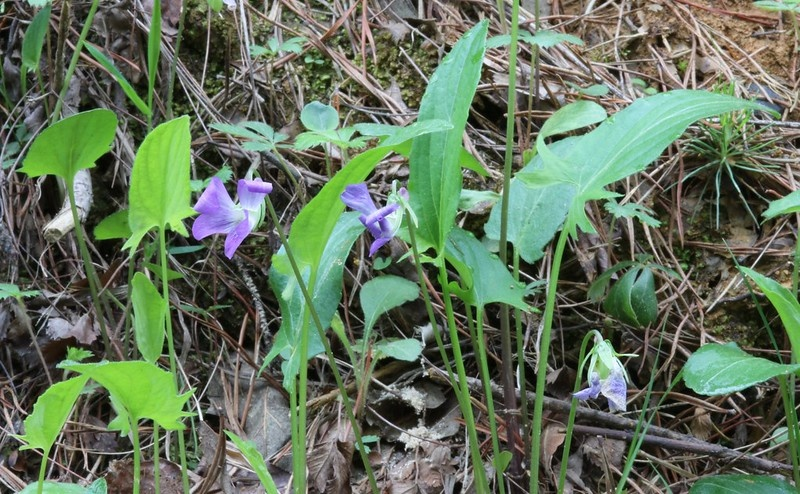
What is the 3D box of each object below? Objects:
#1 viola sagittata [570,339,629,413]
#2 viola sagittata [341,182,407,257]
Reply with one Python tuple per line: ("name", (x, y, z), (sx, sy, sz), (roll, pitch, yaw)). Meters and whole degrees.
("viola sagittata", (0.913, 0.555, 3.510), (0.150, 0.270, 0.341), (11, 77, -32))
("viola sagittata", (-0.080, -0.137, 3.464), (0.342, 0.289, 0.191), (-16, 48, -19))
